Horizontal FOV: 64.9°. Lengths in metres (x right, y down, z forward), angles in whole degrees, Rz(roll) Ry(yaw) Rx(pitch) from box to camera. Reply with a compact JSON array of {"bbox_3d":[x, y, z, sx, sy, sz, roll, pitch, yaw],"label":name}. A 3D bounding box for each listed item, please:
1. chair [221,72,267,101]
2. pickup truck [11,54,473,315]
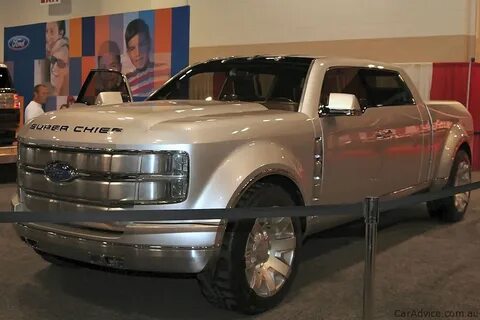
[{"bbox_3d":[0.035,-0.843,4.382,0.329,0.441,0.159,8,15,20],"label":"chair"},{"bbox_3d":[0.471,0.068,3.941,2.305,1.446,4.215,-1,-1,41],"label":"pickup truck"}]
